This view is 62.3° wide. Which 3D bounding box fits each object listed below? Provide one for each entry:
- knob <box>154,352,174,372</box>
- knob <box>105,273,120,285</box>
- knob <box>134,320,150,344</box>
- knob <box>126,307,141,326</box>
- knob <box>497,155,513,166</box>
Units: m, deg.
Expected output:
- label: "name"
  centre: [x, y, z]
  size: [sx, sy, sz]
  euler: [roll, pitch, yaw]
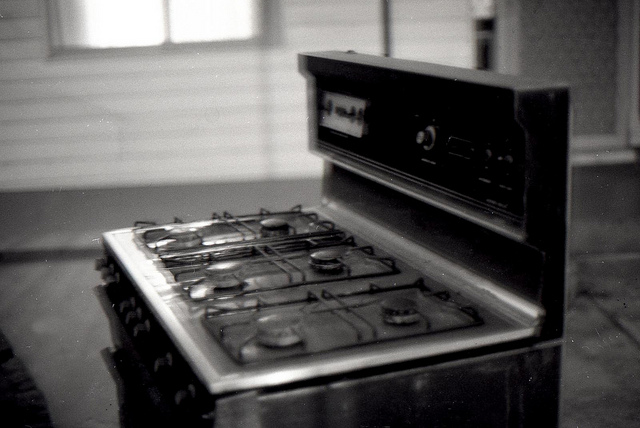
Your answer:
- label: "knob"
  centre: [-0.307, 0.292, 1.049]
  size: [0.015, 0.035, 0.053]
  euler: [11, -25, -26]
- label: "knob"
  centre: [-0.585, 0.187, 1.502]
  size: [0.053, 0.032, 0.027]
  euler: [-14, -34, 40]
- label: "knob"
  centre: [-0.399, 0.272, 1.211]
  size: [0.014, 0.049, 0.047]
  euler: [23, -6, -40]
- label: "knob"
  centre: [-0.441, 0.253, 1.295]
  size: [0.049, 0.046, 0.013]
  euler: [-7, -31, 38]
- label: "knob"
  centre: [0.360, -0.104, 1.025]
  size: [0.019, 0.006, 0.024]
  euler: [-11, 19, 14]
